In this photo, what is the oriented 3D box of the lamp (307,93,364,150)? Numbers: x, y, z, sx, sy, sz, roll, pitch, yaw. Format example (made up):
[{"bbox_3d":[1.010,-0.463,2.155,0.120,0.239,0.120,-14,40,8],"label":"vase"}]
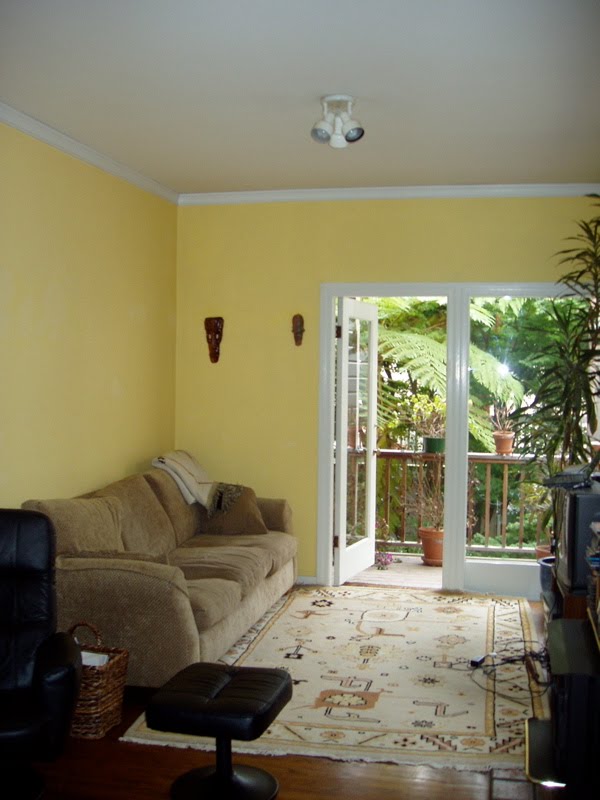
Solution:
[{"bbox_3d":[0.156,-1.200,2.770,0.215,0.244,0.085,0,-20,-8],"label":"lamp"}]

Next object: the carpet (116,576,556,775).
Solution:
[{"bbox_3d":[0.392,1.333,3.434,1.399,0.031,2.185,-2,-1,12],"label":"carpet"}]
